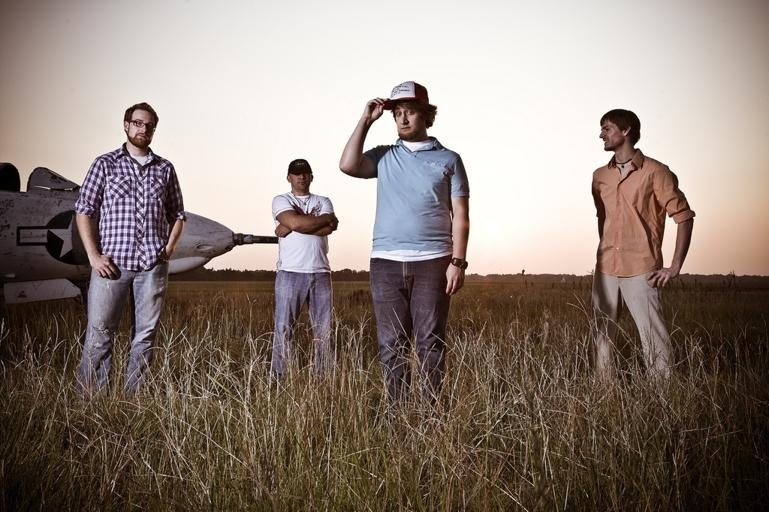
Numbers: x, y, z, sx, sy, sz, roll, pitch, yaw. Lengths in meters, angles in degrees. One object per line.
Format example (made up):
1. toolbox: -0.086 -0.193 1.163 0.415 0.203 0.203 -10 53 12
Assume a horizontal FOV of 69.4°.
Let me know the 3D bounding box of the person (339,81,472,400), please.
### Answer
1. person: 0.195 -0.144 4.756 1.018 2.559 0.434 2 1 8

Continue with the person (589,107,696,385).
1. person: 2.450 -0.194 5.378 0.496 2.068 0.856 0 2 -40

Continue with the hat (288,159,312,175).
1. hat: -0.928 -0.922 6.008 0.174 0.147 0.256 -1 -8 -8

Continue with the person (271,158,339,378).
1. person: -0.818 0.051 5.680 0.673 2.084 1.009 1 1 -13

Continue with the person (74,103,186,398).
1. person: -2.374 0.003 5.265 0.855 2.793 0.702 -3 26 -38
